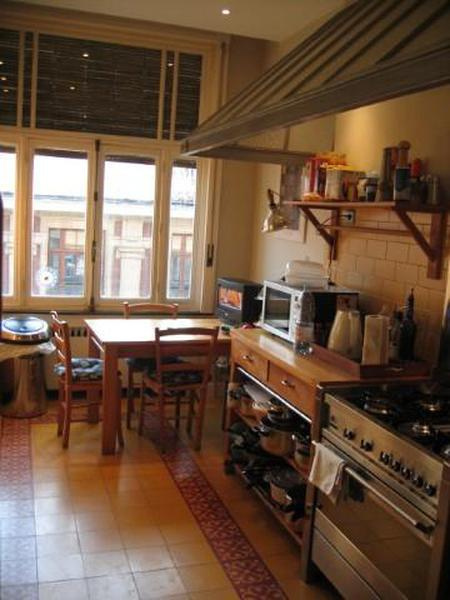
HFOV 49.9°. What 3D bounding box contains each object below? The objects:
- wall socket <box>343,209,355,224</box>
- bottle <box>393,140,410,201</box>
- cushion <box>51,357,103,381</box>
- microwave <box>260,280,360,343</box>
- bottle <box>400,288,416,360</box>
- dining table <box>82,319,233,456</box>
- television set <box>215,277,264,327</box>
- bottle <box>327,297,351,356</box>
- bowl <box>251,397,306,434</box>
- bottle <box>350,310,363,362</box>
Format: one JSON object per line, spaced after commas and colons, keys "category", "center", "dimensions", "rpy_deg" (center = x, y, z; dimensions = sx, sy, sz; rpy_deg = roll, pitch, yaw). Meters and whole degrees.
{"category": "wall socket", "center": [0.761, -0.518, 2.980], "dimensions": [0.024, 0.091, 0.101], "rpy_deg": [1, 6, -24]}
{"category": "bottle", "center": [0.809, -0.582, 2.194], "dimensions": [0.073, 0.272, 0.160], "rpy_deg": [6, 5, 18]}
{"category": "cushion", "center": [-1.095, 0.492, 3.665], "dimensions": [0.329, 0.102, 0.637], "rpy_deg": [3, 5, -15]}
{"category": "microwave", "center": [0.469, 0.071, 2.811], "dimensions": [0.388, 0.324, 0.551], "rpy_deg": [-1, 9, -13]}
{"category": "bottle", "center": [0.873, 0.124, 2.281], "dimensions": [0.103, 0.304, 0.067], "rpy_deg": [-1, 7, -42]}
{"category": "dining table", "center": [-0.452, 0.854, 4.022], "dimensions": [1.159, 1.063, 1.416], "rpy_deg": [2, 2, -4]}
{"category": "television set", "center": [0.096, 0.021, 4.166], "dimensions": [0.317, 0.429, 0.375], "rpy_deg": [-8, 15, -42]}
{"category": "bottle", "center": [0.546, 0.151, 2.323], "dimensions": [0.120, 0.216, 0.045], "rpy_deg": [9, 7, 42]}
{"category": "bowl", "center": [0.275, 0.614, 2.569], "dimensions": [0.224, 0.089, 0.181], "rpy_deg": [2, 6, -28]}
{"category": "bottle", "center": [0.641, 0.167, 2.326], "dimensions": [0.065, 0.238, 0.122], "rpy_deg": [6, 6, 26]}
